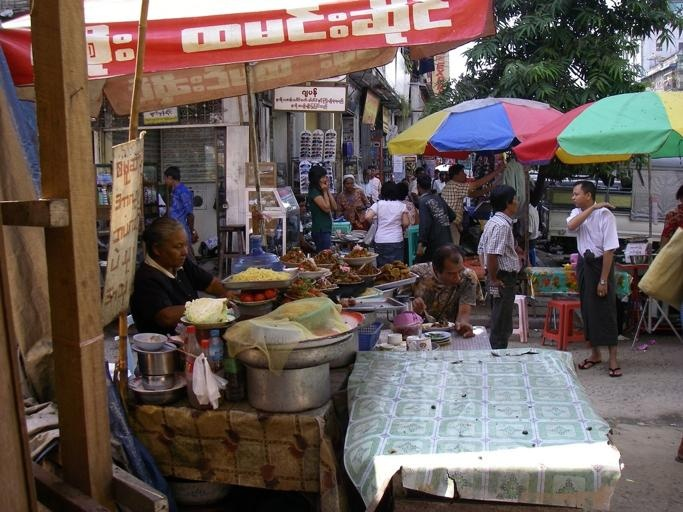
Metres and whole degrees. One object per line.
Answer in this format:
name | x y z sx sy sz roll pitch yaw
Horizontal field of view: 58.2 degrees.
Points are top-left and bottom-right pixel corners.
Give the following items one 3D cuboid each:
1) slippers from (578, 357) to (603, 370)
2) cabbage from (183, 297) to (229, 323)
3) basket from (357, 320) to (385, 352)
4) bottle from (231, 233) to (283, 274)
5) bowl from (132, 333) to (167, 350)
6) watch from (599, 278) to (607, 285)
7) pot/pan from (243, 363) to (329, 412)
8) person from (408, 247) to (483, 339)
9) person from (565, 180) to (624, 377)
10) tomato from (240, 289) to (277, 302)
slippers | 2.951 1.285 7.296 0.307 0.074 0.118 -2 2 -33
cabbage | -0.783 0.321 3.516 0.177 0.060 0.162 5 33 18
basket | 0.199 0.575 4.340 0.270 0.174 0.409 0 0 4
bottle | -0.564 -0.012 4.110 0.277 0.241 0.278 -1 1 -12
bowl | -1.102 0.494 3.539 0.187 0.071 0.160 1 10 21
watch | 2.896 0.288 6.824 0.056 0.040 0.060 -3 4 -36
pot/pan | -0.295 0.739 3.342 0.306 0.182 0.311 -1 3 0
person | 0.964 0.342 5.392 0.562 0.760 0.758 -3 40 -9
person | 2.967 0.248 7.062 0.453 2.206 0.671 -11 13 -40
tomato | -0.508 0.243 3.743 0.224 0.066 0.096 -5 10 -14
